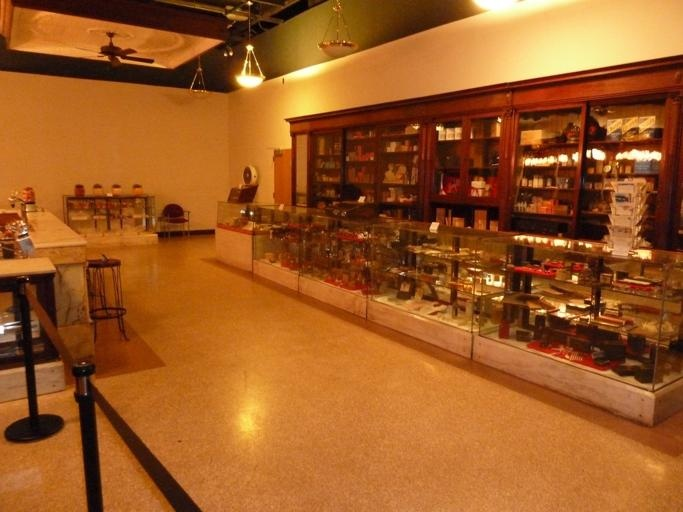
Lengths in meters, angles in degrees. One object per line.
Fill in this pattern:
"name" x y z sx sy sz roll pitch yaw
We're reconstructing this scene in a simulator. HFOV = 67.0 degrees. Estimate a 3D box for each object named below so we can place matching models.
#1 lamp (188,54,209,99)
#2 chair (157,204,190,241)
"lamp" -3.584 -4.390 12.901 0.452 0.589 1.316 1 9 -15
"chair" -4.402 -0.910 13.439 0.871 1.138 0.848 -6 15 -32
